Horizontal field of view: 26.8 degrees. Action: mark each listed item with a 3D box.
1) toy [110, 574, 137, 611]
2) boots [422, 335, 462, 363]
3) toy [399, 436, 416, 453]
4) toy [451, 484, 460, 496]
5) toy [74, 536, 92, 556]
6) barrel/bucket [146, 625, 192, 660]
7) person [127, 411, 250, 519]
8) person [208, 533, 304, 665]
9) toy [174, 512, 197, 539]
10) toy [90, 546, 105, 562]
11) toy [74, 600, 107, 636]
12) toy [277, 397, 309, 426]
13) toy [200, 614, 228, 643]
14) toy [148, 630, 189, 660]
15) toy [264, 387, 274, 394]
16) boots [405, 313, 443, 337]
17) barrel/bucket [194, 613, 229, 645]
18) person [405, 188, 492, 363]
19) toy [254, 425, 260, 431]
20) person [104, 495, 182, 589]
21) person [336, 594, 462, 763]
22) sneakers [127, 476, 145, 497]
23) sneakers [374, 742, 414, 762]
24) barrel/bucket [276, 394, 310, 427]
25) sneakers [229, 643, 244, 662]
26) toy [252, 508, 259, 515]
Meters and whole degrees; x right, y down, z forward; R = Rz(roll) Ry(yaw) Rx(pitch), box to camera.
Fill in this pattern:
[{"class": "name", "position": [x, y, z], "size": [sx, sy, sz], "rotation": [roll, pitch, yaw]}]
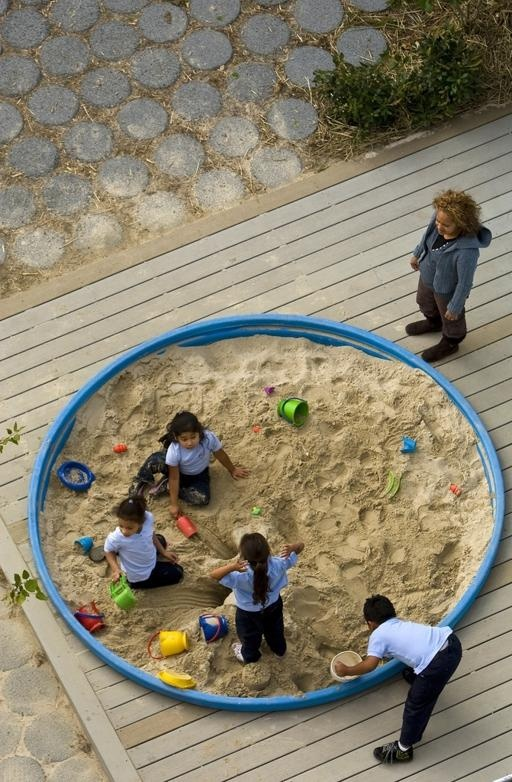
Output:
[{"class": "toy", "position": [-0.770, 1.156, 6.171], "size": [0.108, 0.179, 0.166], "rotation": [-36, 48, -3]}, {"class": "boots", "position": [1.238, -0.273, 7.131], "size": [0.203, 0.134, 0.066], "rotation": [-24, 79, 2]}, {"class": "toy", "position": [0.953, 0.342, 6.740], "size": [0.103, 0.064, 0.125], "rotation": [11, 51, 6]}, {"class": "toy", "position": [1.230, 0.617, 6.648], "size": [0.052, 0.025, 0.073], "rotation": [-41, 90, -19]}, {"class": "toy", "position": [-1.032, 0.928, 6.474], "size": [0.102, 0.064, 0.109], "rotation": [-31, 59, -25]}, {"class": "barrel/bucket", "position": [-0.499, 1.447, 6.095], "size": [0.306, 0.186, 0.167], "rotation": [-5, 75, -9]}, {"class": "person", "position": [-0.423, 0.405, 6.468], "size": [0.800, 0.547, 0.372], "rotation": [-13, 41, -13]}, {"class": "person", "position": [0.037, 1.122, 5.806], "size": [0.490, 0.934, 0.387], "rotation": [-21, 58, -17]}, {"class": "toy", "position": [-0.439, 0.819, 6.493], "size": [0.089, 0.084, 0.134], "rotation": [-37, 44, -10]}, {"class": "toy", "position": [-0.967, 0.981, 6.454], "size": [0.091, 0.038, 0.111], "rotation": [-6, 50, -8]}, {"class": "toy", "position": [-0.967, 1.314, 6.222], "size": [0.150, 0.078, 0.193], "rotation": [-27, 56, -23]}, {"class": "toy", "position": [0.228, 0.129, 6.757], "size": [0.199, 0.146, 0.154], "rotation": [5, 52, 1]}, {"class": "toy", "position": [-0.246, 1.341, 6.088], "size": [0.154, 0.136, 0.155], "rotation": [2, 42, -19]}, {"class": "toy", "position": [-0.526, 1.448, 6.148], "size": [0.304, 0.179, 0.174], "rotation": [-4, 74, -11]}, {"class": "toy", "position": [0.080, 0.001, 6.890], "size": [0.066, 0.029, 0.045], "rotation": [-7, 52, -9]}, {"class": "boots", "position": [1.123, -0.423, 7.220], "size": [0.299, 0.182, 0.088], "rotation": [-3, 82, 4]}, {"class": "barrel/bucket", "position": [-0.266, 1.341, 6.104], "size": [0.161, 0.136, 0.157], "rotation": [6, 40, -5]}, {"class": "person", "position": [1.157, -0.715, 6.718], "size": [0.485, 1.363, 0.350], "rotation": [25, 57, 15]}, {"class": "toy", "position": [-0.008, 0.237, 6.774], "size": [0.029, 0.016, 0.032], "rotation": [7, 82, 4]}, {"class": "person", "position": [-0.656, 0.860, 6.112], "size": [0.430, 0.703, 0.284], "rotation": [-9, 55, -9]}, {"class": "person", "position": [0.708, 1.570, 5.758], "size": [0.576, 0.798, 0.596], "rotation": [23, 55, 14]}, {"class": "sneakers", "position": [-0.737, 0.588, 6.571], "size": [0.063, 0.148, 0.098], "rotation": [12, 88, -30]}, {"class": "sneakers", "position": [0.734, 1.970, 5.849], "size": [0.240, 0.098, 0.081], "rotation": [-3, 70, 3]}, {"class": "barrel/bucket", "position": [0.235, 0.132, 6.831], "size": [0.169, 0.187, 0.179], "rotation": [-17, 44, 18]}, {"class": "sneakers", "position": [-0.112, 1.477, 6.080], "size": [0.042, 0.049, 0.111], "rotation": [-39, 54, 20]}, {"class": "toy", "position": [-0.007, 0.739, 6.576], "size": [0.048, 0.030, 0.047], "rotation": [3, 51, -1]}]
